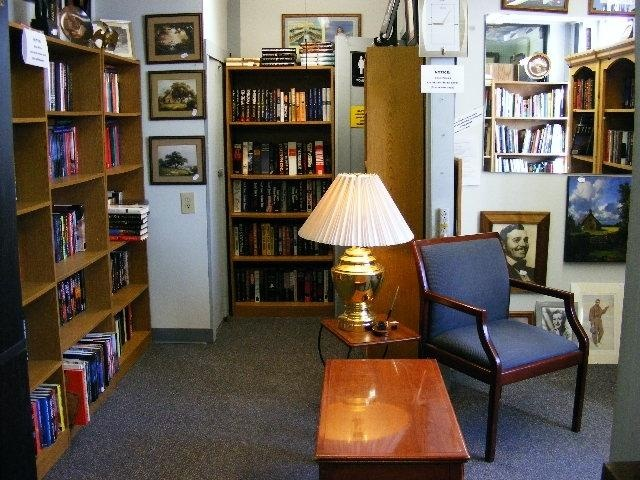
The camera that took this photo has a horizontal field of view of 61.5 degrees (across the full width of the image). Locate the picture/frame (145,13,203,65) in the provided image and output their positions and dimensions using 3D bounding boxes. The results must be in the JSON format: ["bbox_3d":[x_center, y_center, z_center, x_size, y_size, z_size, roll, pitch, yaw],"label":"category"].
[{"bbox_3d":[-1.175,-1.623,4.273,0.380,0.332,0.030,0,8,-1],"label":"picture/frame"}]

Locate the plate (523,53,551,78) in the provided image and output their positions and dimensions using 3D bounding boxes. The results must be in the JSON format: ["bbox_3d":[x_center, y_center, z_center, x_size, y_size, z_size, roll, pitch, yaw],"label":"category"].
[{"bbox_3d":[1.633,-1.304,4.070,0.179,0.189,0.054,16,3,-3],"label":"plate"}]

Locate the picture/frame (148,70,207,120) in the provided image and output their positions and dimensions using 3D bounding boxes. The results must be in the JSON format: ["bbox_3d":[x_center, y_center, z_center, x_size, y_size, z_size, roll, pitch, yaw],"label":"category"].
[{"bbox_3d":[-1.161,-1.189,4.331,0.384,0.336,0.029,-1,10,-4],"label":"picture/frame"}]

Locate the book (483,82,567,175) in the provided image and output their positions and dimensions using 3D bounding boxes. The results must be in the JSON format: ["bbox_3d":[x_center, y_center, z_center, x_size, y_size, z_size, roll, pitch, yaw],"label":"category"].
[{"bbox_3d":[1.561,-0.879,4.063,0.593,0.704,0.204,0,10,2],"label":"book"}]

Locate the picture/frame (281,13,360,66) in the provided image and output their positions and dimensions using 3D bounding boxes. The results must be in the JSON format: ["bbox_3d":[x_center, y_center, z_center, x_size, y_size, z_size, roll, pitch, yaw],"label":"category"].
[{"bbox_3d":[0.024,-1.876,4.994,0.650,0.470,0.031,0,-1,-3],"label":"picture/frame"}]

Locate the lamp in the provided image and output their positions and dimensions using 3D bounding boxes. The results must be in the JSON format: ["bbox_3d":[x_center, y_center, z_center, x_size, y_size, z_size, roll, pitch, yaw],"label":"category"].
[{"bbox_3d":[0.230,0.070,3.253,0.707,0.937,0.727,-1,3,-27],"label":"lamp"}]

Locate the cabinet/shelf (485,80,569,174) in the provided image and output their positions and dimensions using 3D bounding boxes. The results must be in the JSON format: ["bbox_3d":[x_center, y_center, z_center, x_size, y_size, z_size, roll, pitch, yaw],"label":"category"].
[{"bbox_3d":[1.572,-0.894,4.061,0.617,0.738,0.214,0,3,1],"label":"cabinet/shelf"}]

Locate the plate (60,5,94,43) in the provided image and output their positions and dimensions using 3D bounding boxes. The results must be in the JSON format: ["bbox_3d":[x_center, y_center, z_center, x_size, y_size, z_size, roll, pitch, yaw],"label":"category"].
[{"bbox_3d":[-1.589,-1.405,3.513,0.196,0.229,0.139,-6,14,-23],"label":"plate"}]

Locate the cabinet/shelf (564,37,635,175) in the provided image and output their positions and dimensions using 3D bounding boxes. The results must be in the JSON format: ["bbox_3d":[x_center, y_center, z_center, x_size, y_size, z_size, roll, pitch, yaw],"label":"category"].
[{"bbox_3d":[2.086,-0.982,4.018,0.483,0.962,0.153,4,13,22],"label":"cabinet/shelf"}]

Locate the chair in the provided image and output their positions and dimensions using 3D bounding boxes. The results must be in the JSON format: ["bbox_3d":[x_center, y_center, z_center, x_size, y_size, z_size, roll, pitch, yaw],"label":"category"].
[{"bbox_3d":[1.082,0.591,3.281,0.958,1.091,0.968,5,11,36],"label":"chair"}]

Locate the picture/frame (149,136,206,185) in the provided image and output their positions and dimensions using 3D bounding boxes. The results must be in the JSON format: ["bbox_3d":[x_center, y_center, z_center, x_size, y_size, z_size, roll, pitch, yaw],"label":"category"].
[{"bbox_3d":[-1.176,-0.670,4.388,0.379,0.338,0.027,-1,3,-8],"label":"picture/frame"}]
